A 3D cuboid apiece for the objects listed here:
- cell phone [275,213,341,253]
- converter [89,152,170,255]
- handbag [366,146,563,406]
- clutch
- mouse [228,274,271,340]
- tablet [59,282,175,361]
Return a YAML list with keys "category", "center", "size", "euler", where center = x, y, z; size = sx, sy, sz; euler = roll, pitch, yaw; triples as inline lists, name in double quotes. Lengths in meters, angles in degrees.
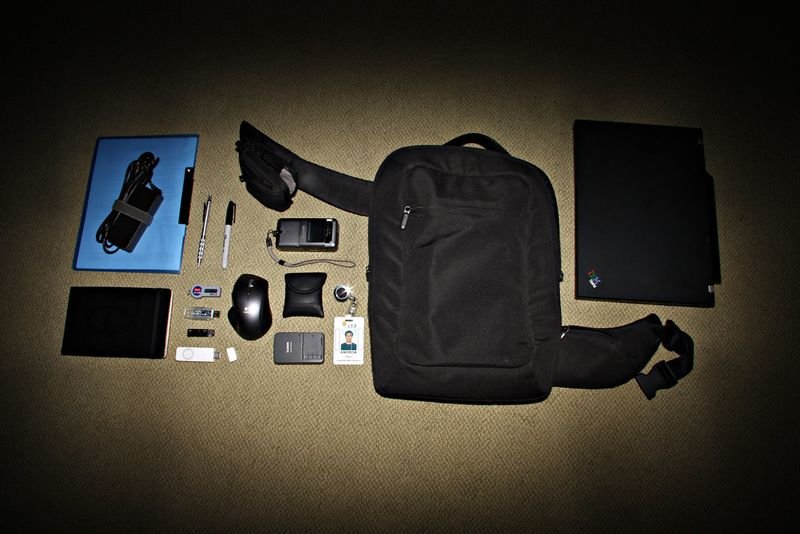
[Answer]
- category: "cell phone"
  center: [-0.352, -0.128, 2.408]
  size: [0.207, 0.115, 0.061]
  euler: [1, -6, 1]
- category: "converter"
  center: [-1.022, -0.251, 2.467]
  size: [0.201, 0.379, 0.062]
  euler: [5, -3, 6]
- category: "handbag"
  center: [0.228, 0.037, 2.371]
  size: [0.676, 0.864, 0.255]
  euler: [0, -3, 0]
- category: "clutch"
  center: [-0.483, -0.349, 2.450]
  size: [0.172, 0.231, 0.273]
  euler: [3, 26, 5]
- category: "mouse"
  center: [-0.550, 0.150, 2.383]
  size: [0.159, 0.225, 0.072]
  euler: [2, -1, 8]
- category: "tablet"
  center: [-1.071, 0.203, 2.414]
  size: [0.370, 0.268, 0.035]
  euler: [6, 2, -38]
